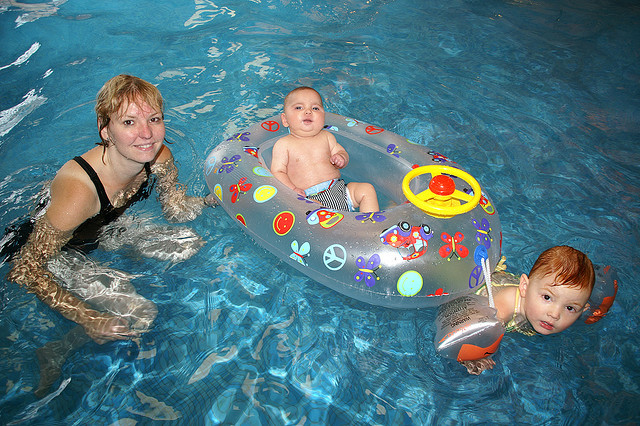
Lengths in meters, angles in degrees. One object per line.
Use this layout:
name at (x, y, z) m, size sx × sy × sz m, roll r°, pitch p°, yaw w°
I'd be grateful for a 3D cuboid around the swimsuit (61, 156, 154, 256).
swimsuit at (-1.786, -0.056, 4.147) m, size 0.426 × 0.643 × 0.682 m, roll 43°, pitch 47°, yaw 1°

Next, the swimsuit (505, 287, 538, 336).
swimsuit at (1.613, 0.784, 3.959) m, size 0.343 × 0.154 × 0.357 m, roll 3°, pitch 90°, yaw 12°

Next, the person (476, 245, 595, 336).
person at (1.823, 0.548, 4.101) m, size 0.717 × 0.844 × 0.421 m, roll 17°, pitch 108°, yaw 10°

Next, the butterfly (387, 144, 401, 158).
butterfly at (0.705, -0.588, 4.687) m, size 0.135 × 0.039 × 0.091 m, roll 28°, pitch 81°, yaw 19°

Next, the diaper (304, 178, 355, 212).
diaper at (0.069, -0.216, 4.780) m, size 0.466 × 0.633 × 0.275 m, roll 6°, pitch 108°, yaw 17°
